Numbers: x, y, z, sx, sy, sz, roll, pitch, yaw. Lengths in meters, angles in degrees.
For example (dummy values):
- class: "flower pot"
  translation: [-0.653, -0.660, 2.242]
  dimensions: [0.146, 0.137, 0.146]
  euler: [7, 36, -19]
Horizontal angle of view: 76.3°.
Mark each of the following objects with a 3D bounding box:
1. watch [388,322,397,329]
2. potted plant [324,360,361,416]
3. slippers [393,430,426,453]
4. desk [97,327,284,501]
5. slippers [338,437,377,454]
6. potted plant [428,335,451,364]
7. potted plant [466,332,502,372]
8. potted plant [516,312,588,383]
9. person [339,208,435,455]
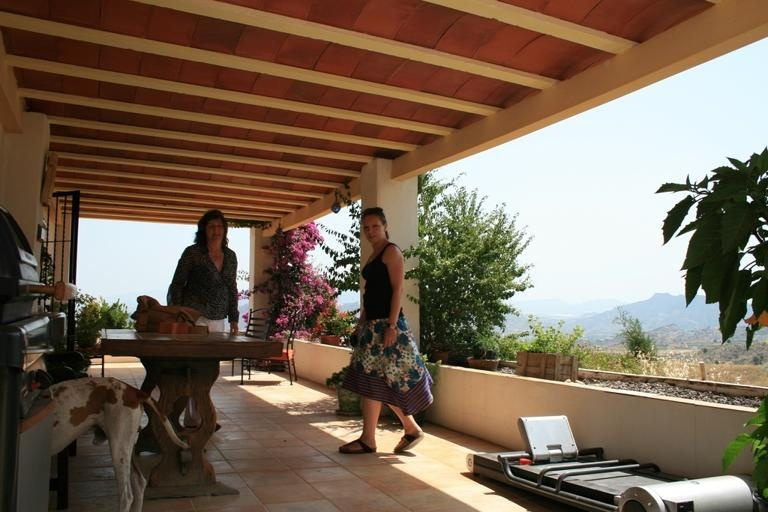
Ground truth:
- class: "watch"
  translation: [0.073, 0.660, 4.597]
  dimensions: [0.065, 0.068, 0.064]
  euler: [-24, -11, -17]
- class: "potted plant"
  translation: [-0.514, 1.858, 6.574]
  dimensions: [0.611, 0.639, 0.530]
  euler: [-12, -24, -6]
- class: "slippers"
  translation: [0.238, 1.810, 4.824]
  dimensions: [0.362, 0.142, 0.138]
  euler: [-39, -5, 11]
- class: "desk"
  translation: [-1.481, 1.212, 3.718]
  dimensions: [1.071, 1.100, 1.289]
  euler: [3, -10, -29]
- class: "slippers"
  translation: [-0.259, 1.857, 4.771]
  dimensions: [0.263, 0.104, 0.155]
  euler: [6, -11, -12]
- class: "potted plant"
  translation: [0.764, 1.299, 6.776]
  dimensions: [0.343, 0.276, 0.347]
  euler: [0, -9, -4]
- class: "potted plant"
  translation: [1.344, 1.307, 6.680]
  dimensions: [0.376, 0.451, 0.582]
  euler: [0, -9, 12]
- class: "potted plant"
  translation: [2.166, 1.272, 6.362]
  dimensions: [0.769, 0.807, 0.548]
  euler: [10, -9, 24]
- class: "person"
  translation: [0.019, 0.727, 4.856]
  dimensions: [0.745, 2.379, 0.615]
  euler: [6, -10, -25]
